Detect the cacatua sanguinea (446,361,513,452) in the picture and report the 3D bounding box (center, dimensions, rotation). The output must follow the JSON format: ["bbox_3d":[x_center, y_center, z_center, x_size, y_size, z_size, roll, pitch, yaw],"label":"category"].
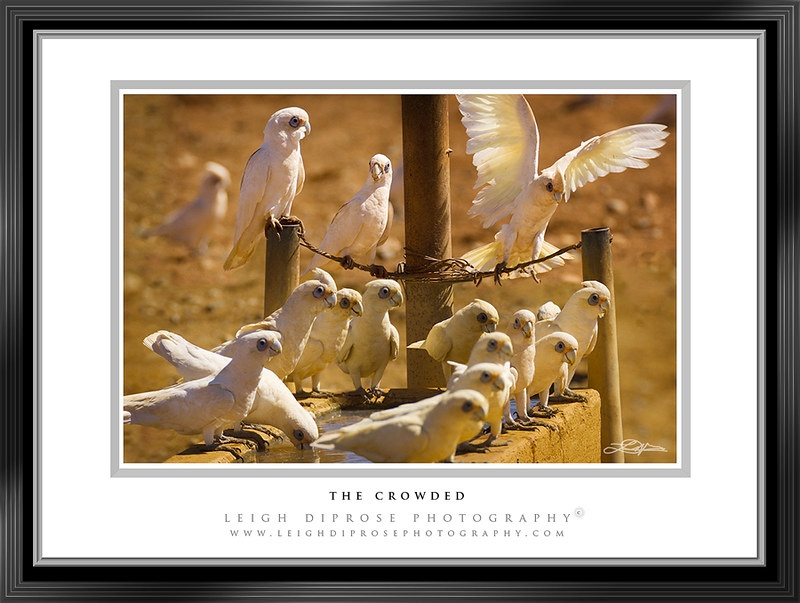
[{"bbox_3d":[0.439,0.580,11.930,0.349,0.493,0.670,-7,22,-4],"label":"cacatua sanguinea"}]
